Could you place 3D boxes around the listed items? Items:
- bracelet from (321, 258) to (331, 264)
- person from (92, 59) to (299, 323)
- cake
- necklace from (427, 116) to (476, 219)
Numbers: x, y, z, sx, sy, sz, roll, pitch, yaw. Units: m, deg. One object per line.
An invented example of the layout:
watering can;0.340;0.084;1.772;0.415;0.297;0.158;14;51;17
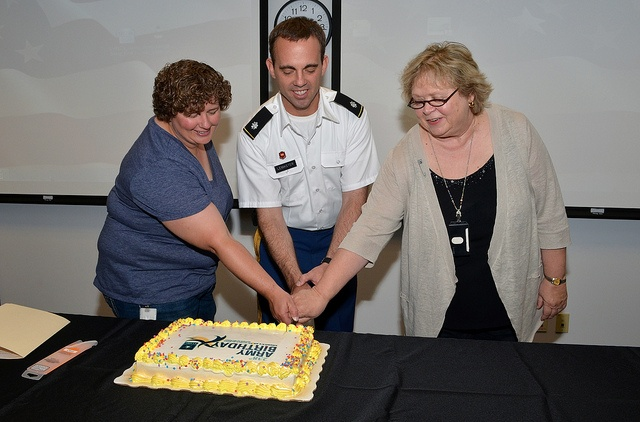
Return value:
bracelet;0.035;0.253;2.418;0.034;0.026;0.038;7;0;12
person;-0.674;-0.012;2.195;0.966;1.305;0.412;-8;17;-3
cake;-0.346;0.588;1.862;0.467;0.103;0.325;3;16;9
necklace;0.638;-0.191;2.237;0.232;0.431;0.233;-1;18;18
